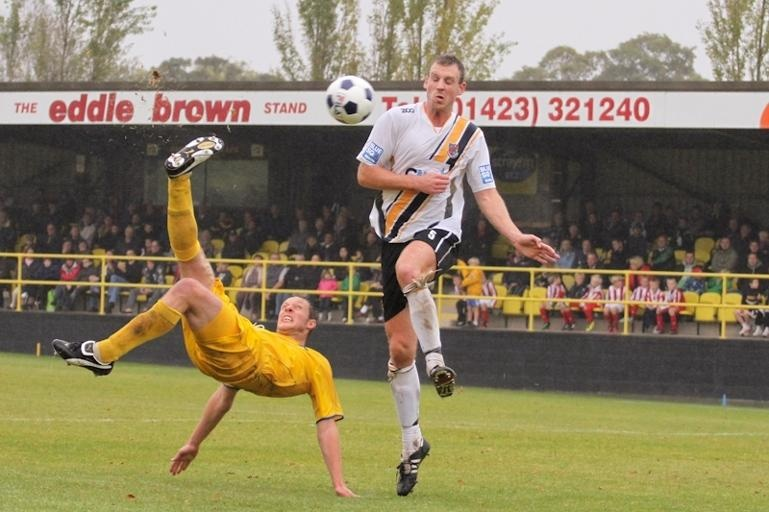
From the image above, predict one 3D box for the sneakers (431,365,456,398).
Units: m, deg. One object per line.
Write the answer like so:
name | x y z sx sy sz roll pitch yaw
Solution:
sneakers | 0.870 1.820 18.959 0.324 0.478 0.236 -9 29 2
